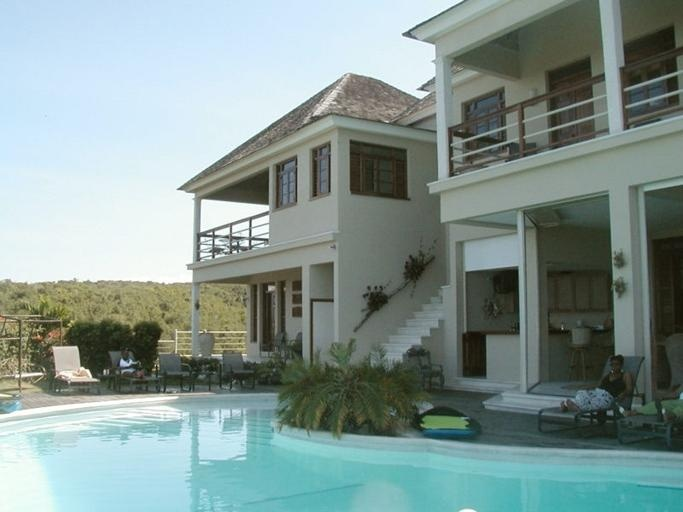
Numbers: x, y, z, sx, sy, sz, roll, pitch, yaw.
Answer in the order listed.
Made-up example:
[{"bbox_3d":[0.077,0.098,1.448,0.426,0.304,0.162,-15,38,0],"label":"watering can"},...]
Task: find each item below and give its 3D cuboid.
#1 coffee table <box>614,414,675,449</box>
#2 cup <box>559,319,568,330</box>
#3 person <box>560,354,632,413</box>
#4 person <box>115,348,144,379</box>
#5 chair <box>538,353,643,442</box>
[{"bbox_3d":[4.811,2.789,9.216,0.601,0.404,0.784,-4,-7,22],"label":"coffee table"},{"bbox_3d":[6.246,1.907,16.268,0.169,0.236,0.331,-7,-12,40],"label":"cup"},{"bbox_3d":[4.425,2.226,10.088,1.371,0.960,0.713,-2,-1,-24],"label":"person"},{"bbox_3d":[-5.928,3.071,16.422,0.546,0.693,0.928,3,-8,-40],"label":"person"},{"bbox_3d":[4.397,2.446,10.053,1.754,1.243,0.972,-3,0,-23],"label":"chair"}]
